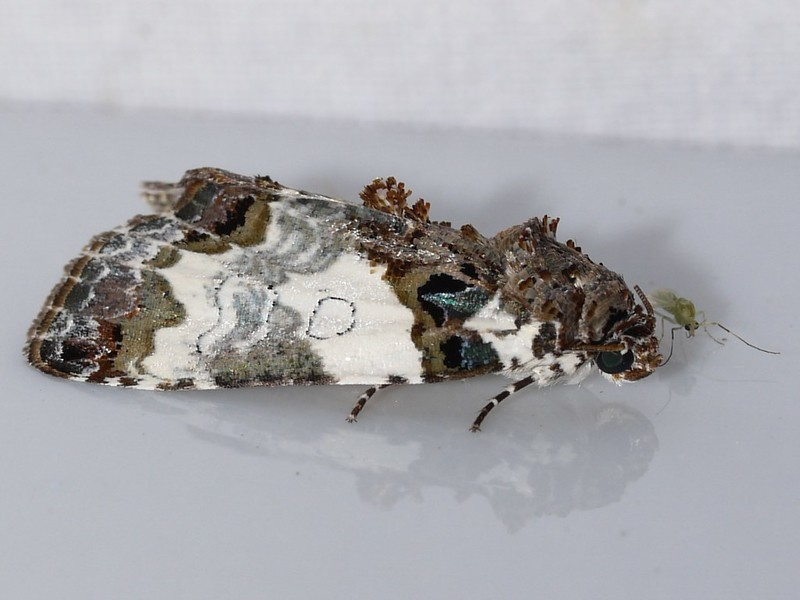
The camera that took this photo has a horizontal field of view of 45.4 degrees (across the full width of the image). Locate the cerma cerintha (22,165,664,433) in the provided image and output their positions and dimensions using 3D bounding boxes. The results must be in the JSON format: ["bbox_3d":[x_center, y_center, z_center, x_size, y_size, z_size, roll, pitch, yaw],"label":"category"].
[{"bbox_3d":[-0.289,0.030,4.942,2.603,0.903,1.404,14,38,-3],"label":"cerma cerintha"}]
